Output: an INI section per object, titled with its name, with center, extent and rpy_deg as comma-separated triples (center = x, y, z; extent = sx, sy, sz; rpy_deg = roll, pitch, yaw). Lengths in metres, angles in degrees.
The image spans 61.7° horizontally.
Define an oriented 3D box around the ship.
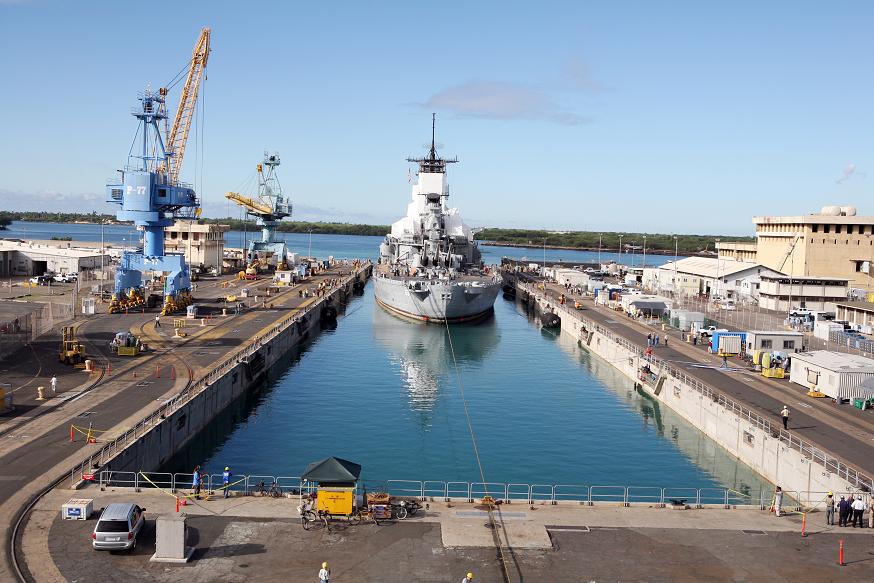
[ship]
center = -1.233, -15.619, 126.095
extent = 18.798, 27.185, 52.105
rpy_deg = 0, 22, -5
